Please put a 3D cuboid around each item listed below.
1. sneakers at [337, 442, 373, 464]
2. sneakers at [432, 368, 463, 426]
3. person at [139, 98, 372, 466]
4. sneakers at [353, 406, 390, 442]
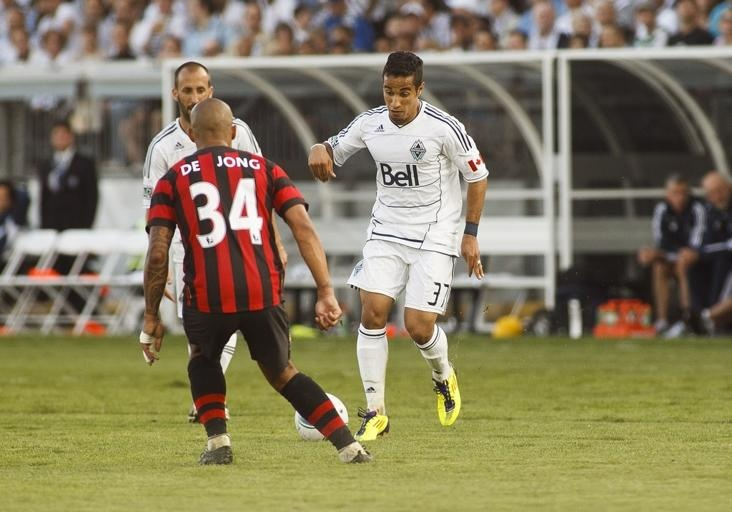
[{"bbox_3d":[-0.081,1.462,11.244,0.262,0.126,0.120,-1,4,-13],"label":"sneakers"},{"bbox_3d":[0.645,1.193,12.368,0.169,0.508,0.218,-17,-28,33],"label":"sneakers"},{"bbox_3d":[-0.913,0.213,11.125,1.524,2.641,0.586,-1,8,-5],"label":"person"},{"bbox_3d":[0.007,1.341,11.970,0.147,0.197,0.448,-19,2,38],"label":"sneakers"}]
